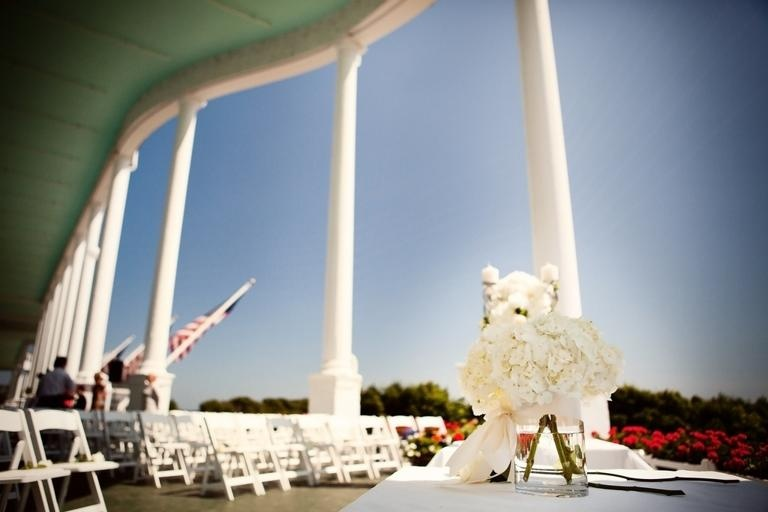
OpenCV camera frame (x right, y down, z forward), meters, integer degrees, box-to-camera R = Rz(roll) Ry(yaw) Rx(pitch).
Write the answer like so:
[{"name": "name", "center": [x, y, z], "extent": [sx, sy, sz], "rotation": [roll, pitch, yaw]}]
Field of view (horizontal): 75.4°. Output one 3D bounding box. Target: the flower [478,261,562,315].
[{"name": "flower", "center": [1.544, 0.439, 5.706], "extent": [0.810, 0.699, 0.685], "rotation": [-4, -8, 6]}]

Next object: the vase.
[{"name": "vase", "center": [1.649, 2.002, 5.081], "extent": [0.689, 0.780, 0.676], "rotation": [1, -14, 3]}]
